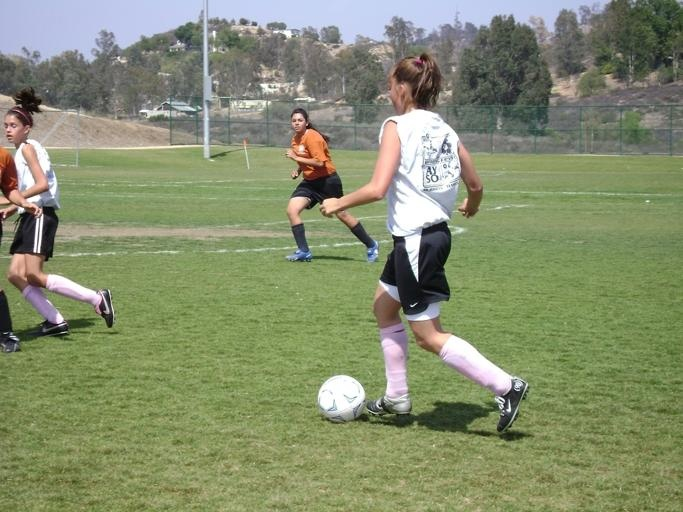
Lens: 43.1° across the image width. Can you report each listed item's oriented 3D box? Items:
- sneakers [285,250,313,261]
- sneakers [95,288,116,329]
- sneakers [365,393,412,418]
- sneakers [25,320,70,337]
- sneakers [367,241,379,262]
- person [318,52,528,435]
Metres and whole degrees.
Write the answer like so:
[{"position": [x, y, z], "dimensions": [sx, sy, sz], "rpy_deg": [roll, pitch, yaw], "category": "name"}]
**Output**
[{"position": [-0.548, -0.002, 11.402], "dimensions": [0.382, 0.152, 0.126], "rpy_deg": [0, 6, 5], "category": "sneakers"}, {"position": [-2.113, 0.474, 7.809], "dimensions": [0.183, 0.344, 0.132], "rpy_deg": [-12, 25, -2], "category": "sneakers"}, {"position": [0.316, 1.081, 6.271], "dimensions": [0.361, 0.157, 0.139], "rpy_deg": [0, 5, 27], "category": "sneakers"}, {"position": [-2.655, 0.665, 7.893], "dimensions": [0.411, 0.132, 0.134], "rpy_deg": [1, 0, -1], "category": "sneakers"}, {"position": [0.404, -0.068, 11.412], "dimensions": [0.116, 0.285, 0.142], "rpy_deg": [0, -22, 45], "category": "sneakers"}, {"position": [0.554, -0.088, 5.984], "dimensions": [1.246, 2.608, 0.583], "rpy_deg": [1, 10, 2], "category": "person"}]
